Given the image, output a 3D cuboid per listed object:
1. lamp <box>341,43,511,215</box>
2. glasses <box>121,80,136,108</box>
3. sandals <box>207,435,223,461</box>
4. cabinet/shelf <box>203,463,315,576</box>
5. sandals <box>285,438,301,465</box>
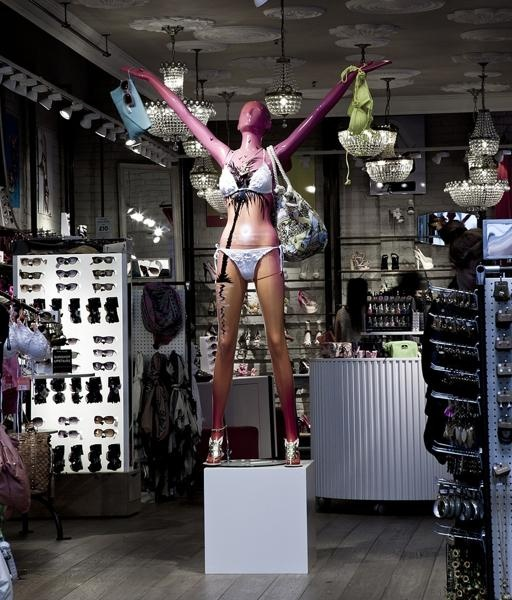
[{"bbox_3d":[2.138,-2.127,8.826,2.026,2.008,0.772,2,1,-1],"label":"lamp"},{"bbox_3d":[-0.792,-1.292,4.481,0.080,0.342,0.086,-3,-40,-10],"label":"glasses"},{"bbox_3d":[-0.216,0.764,3.743,0.088,0.141,0.197,-4,0,-6],"label":"sandals"},{"bbox_3d":[0.014,1.057,3.805,0.503,0.521,0.521,0,2,4],"label":"cabinet/shelf"},{"bbox_3d":[0.183,0.770,3.673,0.081,0.135,0.223,-4,0,2],"label":"sandals"}]
